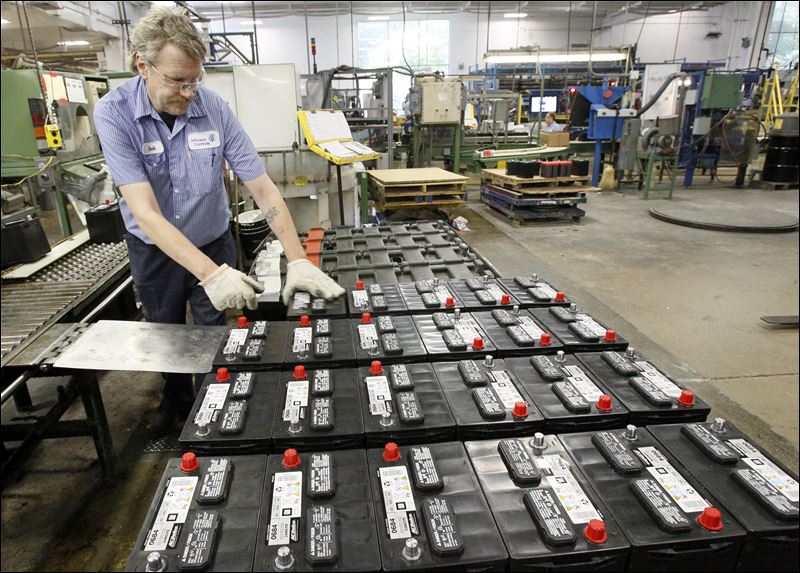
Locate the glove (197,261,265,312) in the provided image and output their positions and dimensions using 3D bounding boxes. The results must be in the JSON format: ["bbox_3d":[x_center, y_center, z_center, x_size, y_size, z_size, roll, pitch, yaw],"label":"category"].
[{"bbox_3d":[-0.902,0.005,2.409,0.271,0.271,0.119,11,14,17],"label":"glove"}]

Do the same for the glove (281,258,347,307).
[{"bbox_3d":[-0.498,-0.031,2.556,0.313,0.087,0.248,14,32,7],"label":"glove"}]
